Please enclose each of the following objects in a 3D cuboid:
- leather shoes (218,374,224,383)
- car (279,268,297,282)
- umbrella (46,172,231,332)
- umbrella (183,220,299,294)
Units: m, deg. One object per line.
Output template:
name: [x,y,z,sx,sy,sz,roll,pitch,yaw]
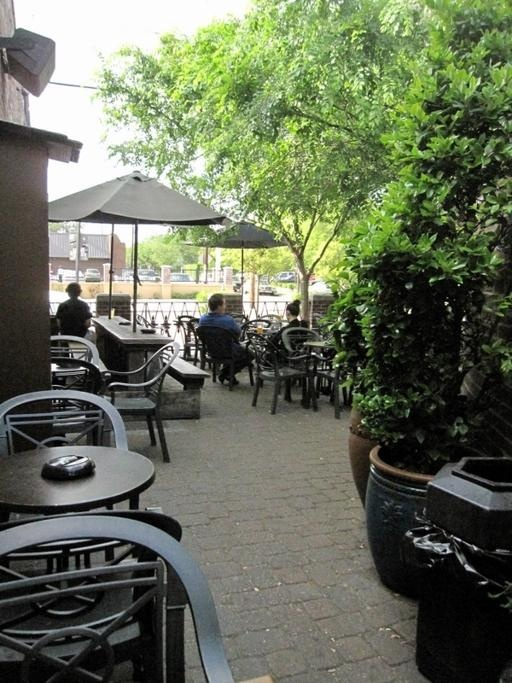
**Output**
leather shoes: [-0.610,0.652,9.512,0.112,0.149,0.064,-4,8,23]
car: [3.526,-7.481,60.368,2.400,1.237,1.457,6,8,23]
umbrella: [-1.528,-1.470,6.832,1.984,1.393,1.903,20,27,38]
umbrella: [-0.244,-2.162,12.633,1.843,1.231,1.722,-3,7,-26]
